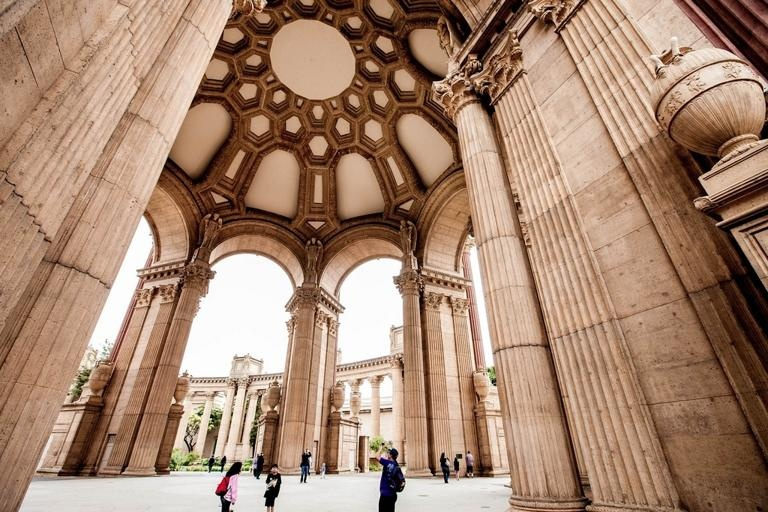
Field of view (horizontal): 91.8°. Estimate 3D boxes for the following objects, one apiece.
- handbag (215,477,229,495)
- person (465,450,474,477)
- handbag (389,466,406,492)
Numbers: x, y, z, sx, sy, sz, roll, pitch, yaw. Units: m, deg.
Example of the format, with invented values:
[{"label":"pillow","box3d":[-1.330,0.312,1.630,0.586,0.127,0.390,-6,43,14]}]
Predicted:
[{"label":"handbag","box3d":[-2.748,3.921,6.352,0.176,0.281,0.379,10,-31,-19]},{"label":"person","box3d":[3.455,8.352,15.037,0.327,0.944,0.852,-7,-30,9]},{"label":"handbag","box3d":[0.218,3.460,5.817,0.272,0.361,0.181,-14,1,15]}]
